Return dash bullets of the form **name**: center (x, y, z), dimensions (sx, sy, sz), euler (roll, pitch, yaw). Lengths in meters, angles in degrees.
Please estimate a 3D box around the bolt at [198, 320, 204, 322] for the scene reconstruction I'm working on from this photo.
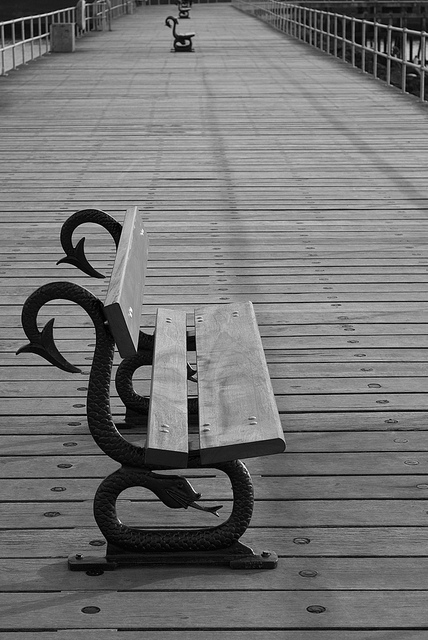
- **bolt**: center (-0.042, 0.002, 2.688), dimensions (0.019, 0.002, 0.022), euler (-1, 15, -5)

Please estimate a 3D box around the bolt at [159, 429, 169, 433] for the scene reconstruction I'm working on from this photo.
- **bolt**: center (-0.109, 0.241, 1.867), dimensions (0.020, 0.002, 0.016), euler (-3, 16, -14)

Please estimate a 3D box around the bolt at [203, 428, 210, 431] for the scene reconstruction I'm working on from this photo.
- **bolt**: center (-0.017, 0.238, 1.868), dimensions (0.014, 0.001, 0.013), euler (3, 15, 7)

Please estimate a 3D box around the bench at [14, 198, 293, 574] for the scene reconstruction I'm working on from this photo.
- **bench**: center (-0.191, 0.189, 2.650), dimensions (0.703, 0.532, 1.246), euler (-1, 14, -5)

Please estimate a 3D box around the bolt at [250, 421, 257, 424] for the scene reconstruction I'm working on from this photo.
- **bolt**: center (0.085, 0.223, 1.861), dimensions (0.015, 0.003, 0.010), euler (6, 16, 18)

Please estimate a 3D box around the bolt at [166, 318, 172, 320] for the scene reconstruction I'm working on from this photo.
- **bolt**: center (-0.147, -0.005, 2.772), dimensions (0.019, 0.002, 0.017), euler (-5, 16, -20)

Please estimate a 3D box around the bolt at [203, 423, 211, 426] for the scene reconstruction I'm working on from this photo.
- **bolt**: center (-0.015, 0.230, 1.894), dimensions (0.013, 0.001, 0.016), euler (5, 16, 16)

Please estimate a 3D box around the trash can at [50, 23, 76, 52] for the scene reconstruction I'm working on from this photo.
- **trash can**: center (-3.380, -6.317, 19.142), dimensions (0.554, 0.626, 0.497), euler (-2, 18, -9)

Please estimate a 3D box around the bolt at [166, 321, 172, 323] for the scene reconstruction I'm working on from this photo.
- **bolt**: center (-0.145, 0.006, 2.735), dimensions (0.016, 0.002, 0.016), euler (-3, 16, -13)
